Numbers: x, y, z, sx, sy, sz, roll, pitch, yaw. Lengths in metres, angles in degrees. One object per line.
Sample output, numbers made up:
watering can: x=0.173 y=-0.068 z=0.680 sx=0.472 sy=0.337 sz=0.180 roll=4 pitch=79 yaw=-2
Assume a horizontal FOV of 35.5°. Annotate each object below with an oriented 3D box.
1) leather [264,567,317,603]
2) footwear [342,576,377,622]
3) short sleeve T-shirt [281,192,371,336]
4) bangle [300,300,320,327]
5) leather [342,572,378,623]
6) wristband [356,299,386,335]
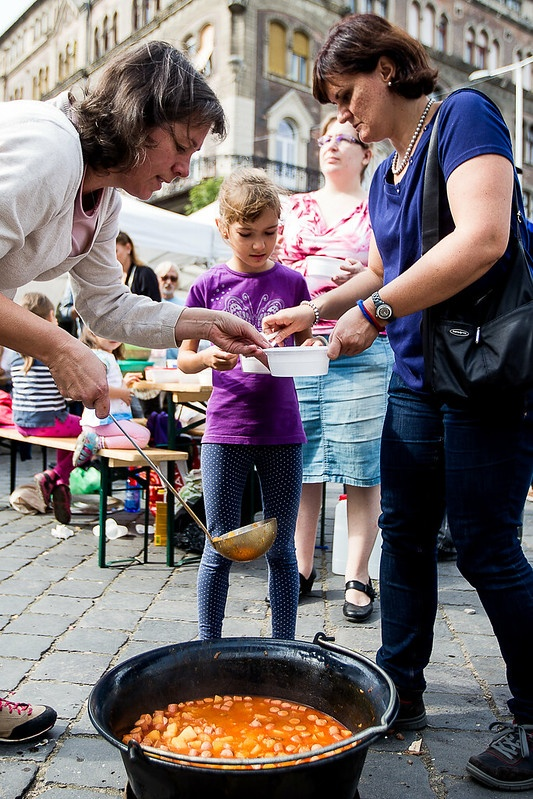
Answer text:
leather: x=0.117 y=0.812 z=3.632 sx=0.102 sy=0.106 sz=0.282 roll=-4 pitch=-14 yaw=16
footwear: x=0.381 y=0.824 z=3.429 sx=0.156 sy=0.123 sz=0.418 roll=-3 pitch=-5 yaw=7
short sleeve T-shirt: x=0.274 y=-0.647 z=3.675 sx=0.367 sy=0.432 sz=0.248 roll=-2 pitch=-4 yaw=11
bangle: x=0.152 y=-0.285 z=2.769 sx=0.029 sy=0.058 sz=0.078 roll=-27 pitch=-38 yaw=1
leather: x=0.383 y=0.822 z=3.441 sx=0.166 sy=0.131 sz=0.451 roll=-3 pitch=-6 yaw=7
wristband: x=0.280 y=-0.219 z=2.299 sx=0.102 sy=0.065 sz=0.094 roll=42 pitch=3 yaw=-3
